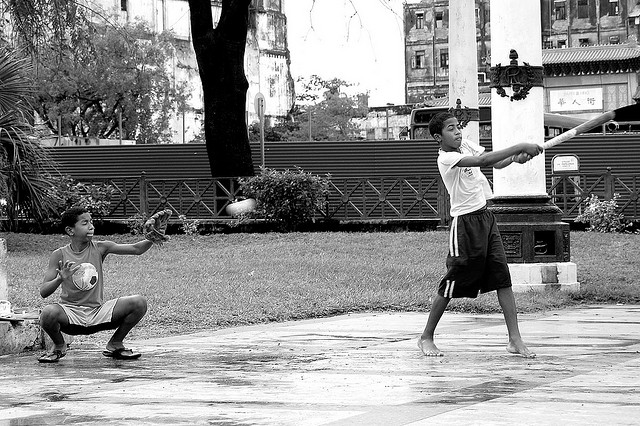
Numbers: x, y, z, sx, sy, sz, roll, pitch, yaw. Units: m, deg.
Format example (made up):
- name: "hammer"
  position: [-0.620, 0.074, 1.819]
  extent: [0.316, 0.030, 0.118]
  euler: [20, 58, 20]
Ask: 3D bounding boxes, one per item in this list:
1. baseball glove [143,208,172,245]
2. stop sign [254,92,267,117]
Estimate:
- name: "baseball glove"
  position: [-2.850, 0.245, 23.542]
  extent: [0.564, 0.591, 0.220]
  euler: [14, -15, -32]
- name: "stop sign"
  position: [-1.608, -2.851, 36.721]
  extent: [0.349, 0.859, 0.224]
  euler: [-2, 0, 0]
